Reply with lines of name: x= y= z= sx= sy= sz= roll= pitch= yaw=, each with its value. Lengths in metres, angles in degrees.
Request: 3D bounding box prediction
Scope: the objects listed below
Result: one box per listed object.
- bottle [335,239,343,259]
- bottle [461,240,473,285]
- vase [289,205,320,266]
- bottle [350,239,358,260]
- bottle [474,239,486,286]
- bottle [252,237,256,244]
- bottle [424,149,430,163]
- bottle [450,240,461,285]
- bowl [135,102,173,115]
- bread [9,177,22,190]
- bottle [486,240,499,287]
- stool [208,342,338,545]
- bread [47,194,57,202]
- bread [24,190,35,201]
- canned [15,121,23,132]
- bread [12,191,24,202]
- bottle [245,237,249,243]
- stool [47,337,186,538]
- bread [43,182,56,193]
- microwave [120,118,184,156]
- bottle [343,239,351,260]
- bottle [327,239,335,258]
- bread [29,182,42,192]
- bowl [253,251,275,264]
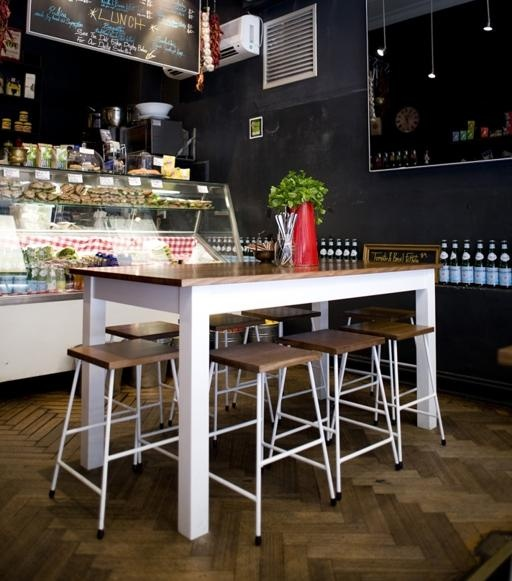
bottle: x=0.733 y=-0.378 z=4.310 sx=0.063 sy=0.176 sz=0.115 roll=1 pitch=4 yaw=8
bottle: x=1.497 y=-0.203 z=3.452 sx=0.084 sy=0.316 sz=0.138 roll=2 pitch=5 yaw=23
vase: x=0.262 y=-0.304 z=2.622 sx=0.133 sy=0.342 sz=0.265 roll=1 pitch=4 yaw=5
bottle: x=0.843 y=-0.361 z=4.204 sx=0.064 sy=0.166 sz=0.055 roll=1 pitch=4 yaw=10
bottle: x=1.555 y=-0.196 z=3.391 sx=0.077 sy=0.317 sz=0.112 roll=2 pitch=5 yaw=24
bottle: x=-0.020 y=-0.528 z=5.072 sx=0.053 sy=0.097 sz=0.053 roll=0 pitch=-6 yaw=0
bottle: x=1.260 y=-0.986 z=3.607 sx=0.005 sy=0.100 sz=0.047 roll=-3 pitch=5 yaw=-40
bottle: x=1.436 y=-0.208 z=3.526 sx=0.080 sy=0.320 sz=0.161 roll=2 pitch=4 yaw=21
bowl: x=-1.090 y=-1.902 z=5.176 sx=0.227 sy=0.082 sz=0.229 roll=-1 pitch=7 yaw=0
bread: x=-1.580 y=-0.704 z=3.220 sx=0.022 sy=0.074 sz=0.089 roll=3 pitch=5 yaw=37
bottle: x=1.615 y=-0.190 z=3.335 sx=0.079 sy=0.315 sz=0.125 roll=2 pitch=5 yaw=24
stool: x=0.072 y=0.542 z=2.217 sx=0.602 sy=0.847 sz=0.666 roll=-3 pitch=4 yaw=-39
bread: x=-1.401 y=-0.647 z=3.360 sx=0.046 sy=0.015 sz=0.063 roll=35 pitch=45 yaw=-1
bread: x=-1.524 y=-0.644 z=3.285 sx=0.070 sy=0.073 sz=0.040 roll=-2 pitch=5 yaw=-29
canned: x=-2.752 y=-1.893 z=5.688 sx=0.108 sy=0.116 sz=0.107 roll=4 pitch=4 yaw=-27
bread: x=-1.572 y=-0.627 z=3.232 sx=0.018 sy=0.064 sz=0.069 roll=35 pitch=12 yaw=37
bottle: x=-0.087 y=-0.535 z=5.156 sx=0.041 sy=0.057 sz=0.134 roll=0 pitch=4 yaw=-7
stool: x=-0.594 y=0.510 z=2.311 sx=0.556 sy=0.808 sz=0.831 roll=4 pitch=1 yaw=37
bread: x=-1.416 y=-0.712 z=3.361 sx=0.038 sy=0.079 sz=0.084 roll=1 pitch=4 yaw=17
microwave: x=-1.123 y=-1.612 z=5.328 sx=0.626 sy=0.399 sz=0.461 roll=9 pitch=10 yaw=43
bottle: x=0.791 y=-0.370 z=4.256 sx=0.061 sy=0.178 sz=0.090 roll=1 pitch=4 yaw=8
bottle: x=0.668 y=-0.386 z=4.378 sx=0.053 sy=0.173 sz=0.096 roll=0 pitch=4 yaw=-2
bread: x=-1.489 y=-0.699 z=3.293 sx=0.072 sy=0.069 sz=0.017 roll=6 pitch=-10 yaw=-36
bowl: x=0.062 y=-0.203 z=2.911 sx=0.088 sy=0.058 sz=0.084 roll=-1 pitch=5 yaw=0
